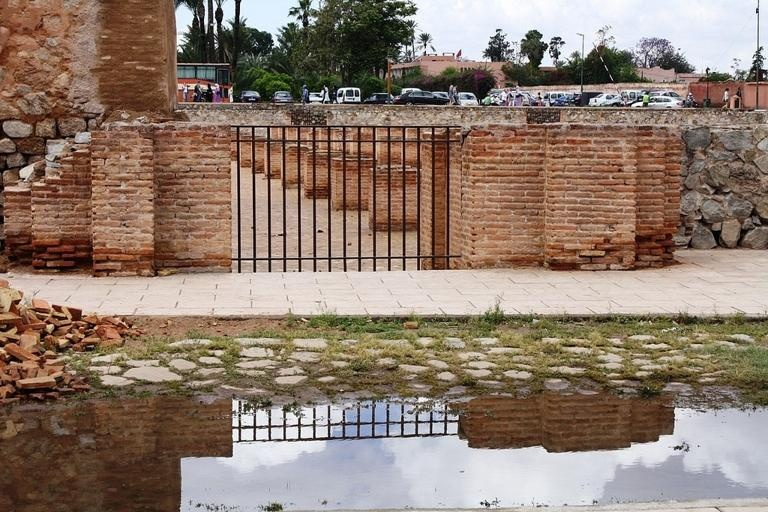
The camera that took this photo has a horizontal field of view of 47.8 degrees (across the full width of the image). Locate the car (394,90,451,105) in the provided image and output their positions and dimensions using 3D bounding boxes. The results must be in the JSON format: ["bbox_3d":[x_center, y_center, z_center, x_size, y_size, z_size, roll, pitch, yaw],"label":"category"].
[{"bbox_3d":[2.120,-8.432,46.449,3.217,0.715,1.192,-3,12,-14],"label":"car"}]

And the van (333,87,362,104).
[{"bbox_3d":[-1.947,-8.908,48.491,1.523,1.094,2.189,-2,18,-9],"label":"van"}]
